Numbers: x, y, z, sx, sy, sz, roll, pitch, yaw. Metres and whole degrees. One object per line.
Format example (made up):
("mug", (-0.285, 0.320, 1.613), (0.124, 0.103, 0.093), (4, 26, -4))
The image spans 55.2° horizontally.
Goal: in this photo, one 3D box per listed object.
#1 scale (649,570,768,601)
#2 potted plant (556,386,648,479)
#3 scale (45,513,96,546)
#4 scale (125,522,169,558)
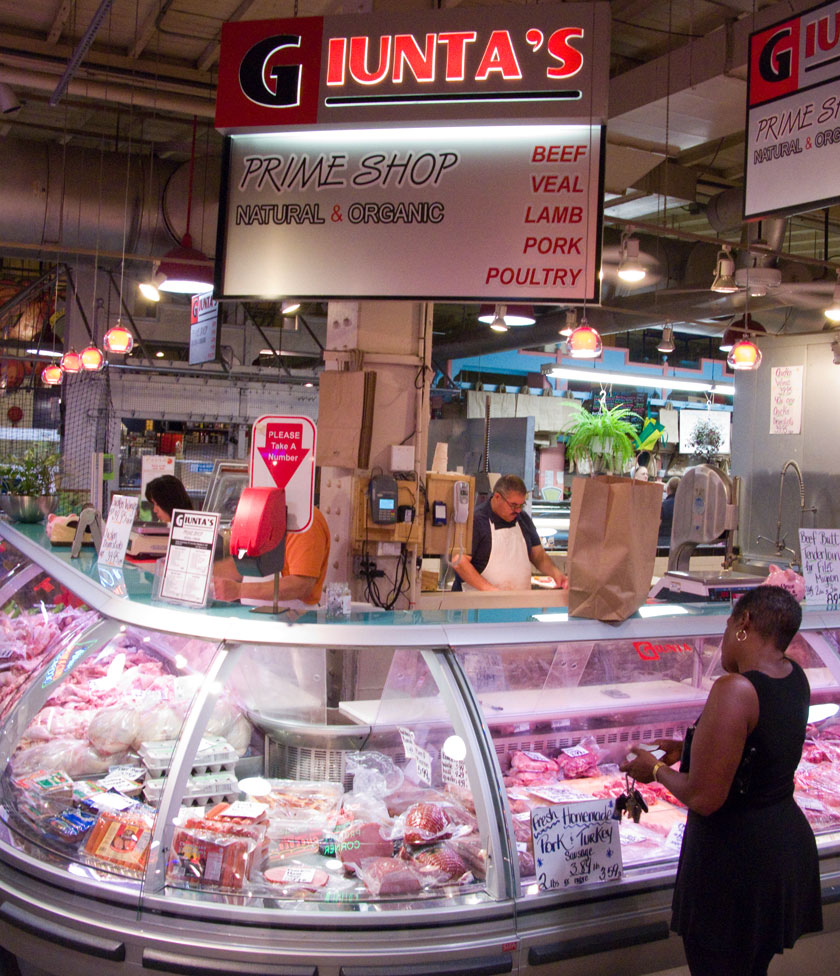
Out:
("scale", (1.037, 0.359, 2.925), (0.258, 0.064, 0.247), (-2, 5, -15))
("potted plant", (2.146, -0.604, 9.348), (1.088, 1.138, 1.208), (1, 1, 13))
("scale", (-1.849, 0.210, 4.232), (0.218, 0.168, 0.644), (0, 6, -20))
("scale", (-1.285, 0.227, 3.789), (0.173, 0.103, 0.221), (-1, 6, -22))
